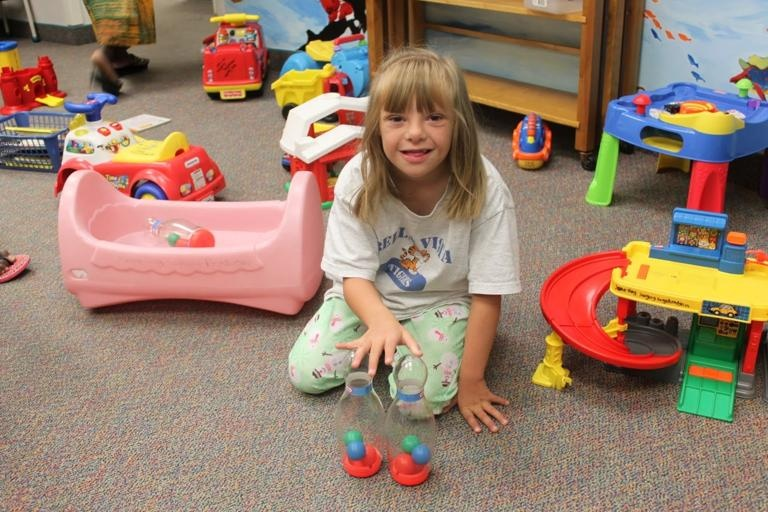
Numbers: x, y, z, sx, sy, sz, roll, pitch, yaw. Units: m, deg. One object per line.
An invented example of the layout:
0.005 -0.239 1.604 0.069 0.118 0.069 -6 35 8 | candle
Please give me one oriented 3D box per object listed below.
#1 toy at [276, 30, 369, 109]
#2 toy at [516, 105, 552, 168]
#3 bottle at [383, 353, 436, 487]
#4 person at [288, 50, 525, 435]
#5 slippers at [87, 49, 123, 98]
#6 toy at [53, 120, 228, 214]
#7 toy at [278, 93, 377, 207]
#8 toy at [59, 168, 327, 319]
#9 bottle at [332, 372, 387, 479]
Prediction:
-0.283 -0.970 2.994 0.530 0.345 0.372 -1 26 11 | toy
0.615 -0.496 2.386 0.131 0.095 0.246 2 51 13 | toy
0.052 0.333 1.164 0.104 0.276 0.104 -3 33 2 | bottle
0.033 -0.034 1.298 0.549 0.739 0.566 1 33 8 | person
-1.625 -1.061 3.288 0.152 0.175 0.442 -19 37 -20 | slippers
-0.900 -0.365 2.164 0.539 0.246 0.336 14 23 9 | toy
-0.250 -0.452 2.283 0.440 0.415 0.389 -8 37 -11 | toy
-0.556 -0.029 1.766 0.741 0.389 0.422 0 21 2 | toy
-0.046 0.364 1.195 0.101 0.192 0.083 -7 33 -4 | bottle
